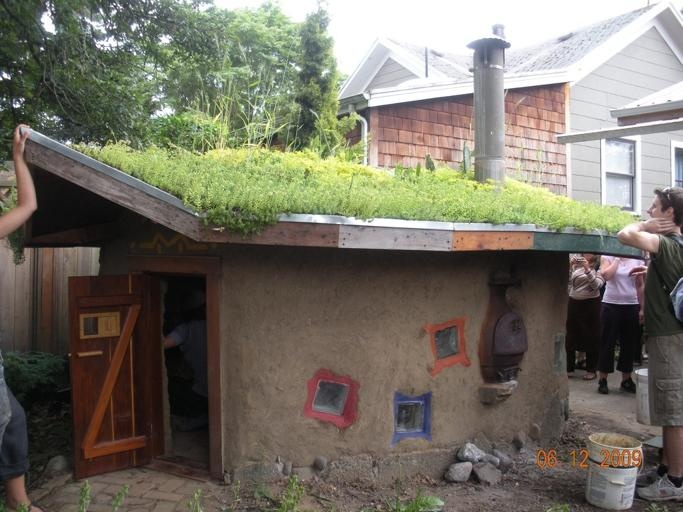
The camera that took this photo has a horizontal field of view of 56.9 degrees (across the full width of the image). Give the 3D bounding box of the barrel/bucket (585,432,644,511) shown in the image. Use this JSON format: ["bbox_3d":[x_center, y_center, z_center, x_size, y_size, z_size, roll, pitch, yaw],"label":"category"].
[{"bbox_3d":[2.955,2.357,7.177,0.686,0.773,0.667,1,2,0],"label":"barrel/bucket"}]

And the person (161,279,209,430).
[{"bbox_3d":[-2.190,1.436,8.952,0.584,1.772,1.390,-2,8,-14],"label":"person"}]

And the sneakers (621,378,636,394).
[{"bbox_3d":[4.582,2.079,10.107,0.282,0.186,0.135,-3,0,28],"label":"sneakers"}]
